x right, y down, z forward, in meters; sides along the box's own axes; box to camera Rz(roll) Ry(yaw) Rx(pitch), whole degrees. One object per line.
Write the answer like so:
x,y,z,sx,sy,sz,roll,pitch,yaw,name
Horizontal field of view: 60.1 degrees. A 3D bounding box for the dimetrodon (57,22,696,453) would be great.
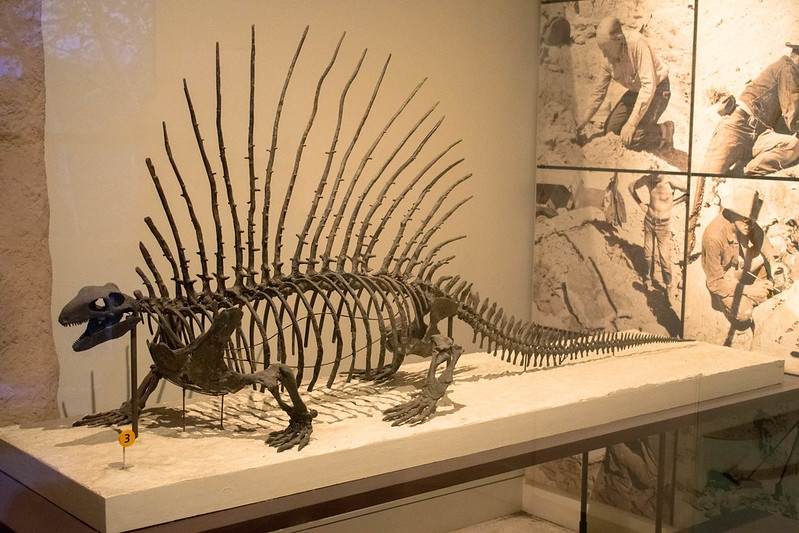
-0.030,-0.079,3.557,3.182,1.750,1.140,-1,11,-13,dimetrodon
